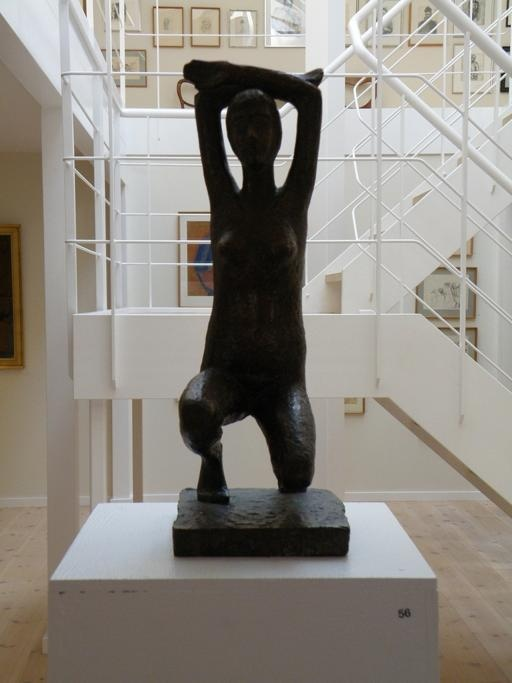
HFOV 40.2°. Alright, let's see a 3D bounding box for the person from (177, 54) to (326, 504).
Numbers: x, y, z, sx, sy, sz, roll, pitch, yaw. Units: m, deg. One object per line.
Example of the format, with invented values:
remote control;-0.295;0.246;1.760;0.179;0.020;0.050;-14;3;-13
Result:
person;-0.008;-0.140;1.757;0.368;1.094;0.278;0;1;-8
